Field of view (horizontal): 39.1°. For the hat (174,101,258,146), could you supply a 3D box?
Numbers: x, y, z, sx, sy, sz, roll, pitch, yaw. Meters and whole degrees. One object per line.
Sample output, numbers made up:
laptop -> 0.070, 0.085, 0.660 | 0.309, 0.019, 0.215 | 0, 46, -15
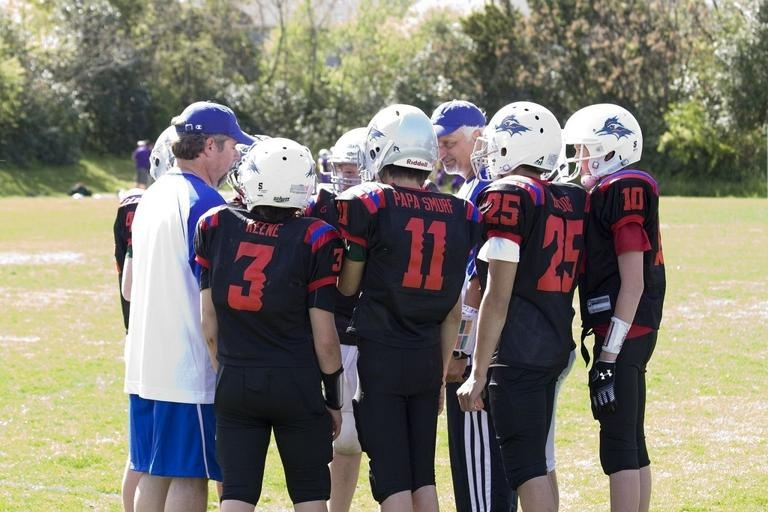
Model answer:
hat -> -2.533, -1.908, 15.663 | 1.012, 0.559, 0.624 | -2, 8, -14

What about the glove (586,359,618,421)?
glove -> 3.188, 1.952, 15.684 | 0.473, 0.768, 0.283 | -7, -4, 8
